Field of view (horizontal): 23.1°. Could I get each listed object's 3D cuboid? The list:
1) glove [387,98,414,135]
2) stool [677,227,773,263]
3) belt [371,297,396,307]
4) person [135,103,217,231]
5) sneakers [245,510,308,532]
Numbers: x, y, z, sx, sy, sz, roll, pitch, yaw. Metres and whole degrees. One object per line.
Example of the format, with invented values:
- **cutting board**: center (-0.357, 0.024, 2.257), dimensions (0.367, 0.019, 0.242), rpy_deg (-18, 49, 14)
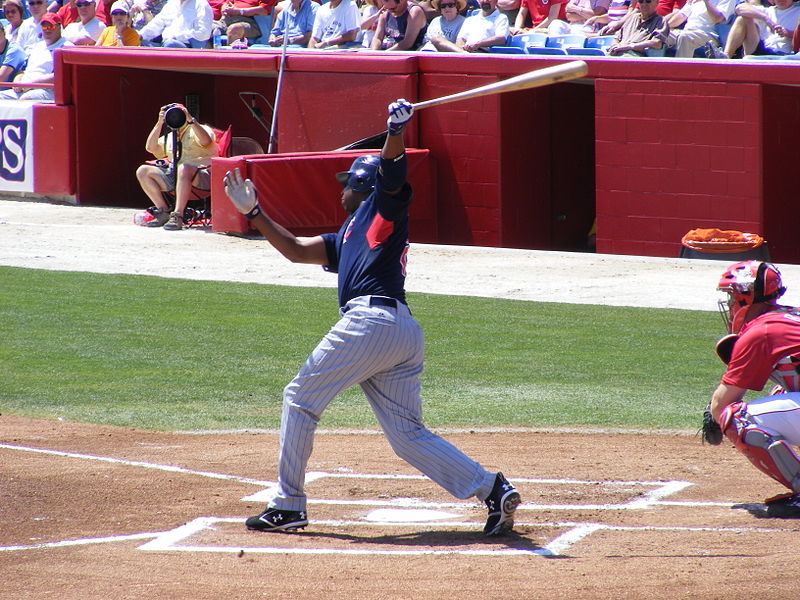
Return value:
- **glove**: center (-0.004, -1.486, 15.906), dimensions (0.222, 0.280, 0.128), rpy_deg (24, 2, -28)
- **stool**: center (3.953, -0.668, 24.002), dimensions (1.192, 0.364, 0.325), rpy_deg (4, 6, 36)
- **belt**: center (-0.137, 0.015, 15.856), dimensions (0.137, 0.047, 0.096), rpy_deg (7, 3, 5)
- **person**: center (-2.946, -1.739, 25.864), dimensions (1.048, 1.648, 0.825), rpy_deg (5, 7, 37)
- **sneakers**: center (-1.001, 1.797, 16.024), dimensions (0.547, 0.220, 0.189), rpy_deg (1, -4, 2)
